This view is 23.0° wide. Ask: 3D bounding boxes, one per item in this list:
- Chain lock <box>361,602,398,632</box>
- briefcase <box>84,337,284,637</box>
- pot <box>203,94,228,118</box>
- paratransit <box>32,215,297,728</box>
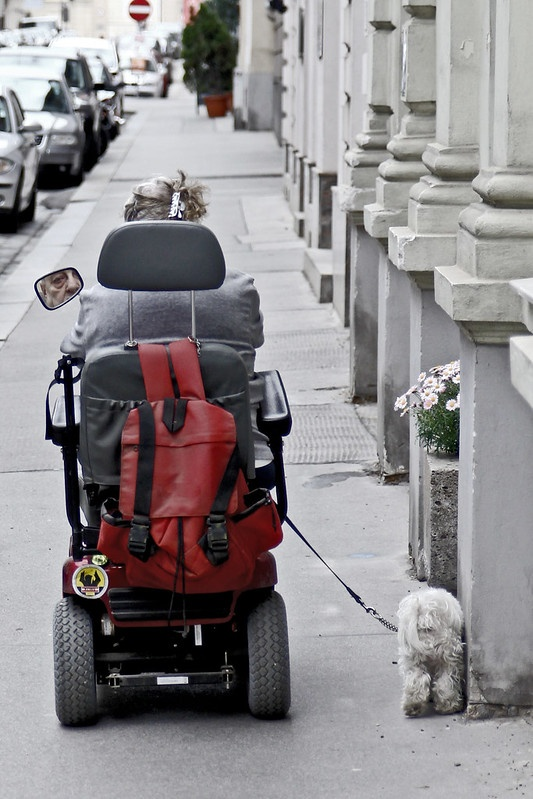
[{"bbox_3d":[0.386,0.755,4.481,0.157,0.018,0.053,37,-20,23],"label":"Chain lock"},{"bbox_3d":[-0.223,0.230,3.438,0.518,0.751,0.292,0,10,1],"label":"briefcase"},{"bbox_3d":[-1.470,-8.355,37.134,0.640,0.586,0.693,-2,18,1],"label":"pot"},{"bbox_3d":[-0.262,0.166,3.601,0.558,1.207,1.221,-1,14,-5],"label":"paratransit"}]
